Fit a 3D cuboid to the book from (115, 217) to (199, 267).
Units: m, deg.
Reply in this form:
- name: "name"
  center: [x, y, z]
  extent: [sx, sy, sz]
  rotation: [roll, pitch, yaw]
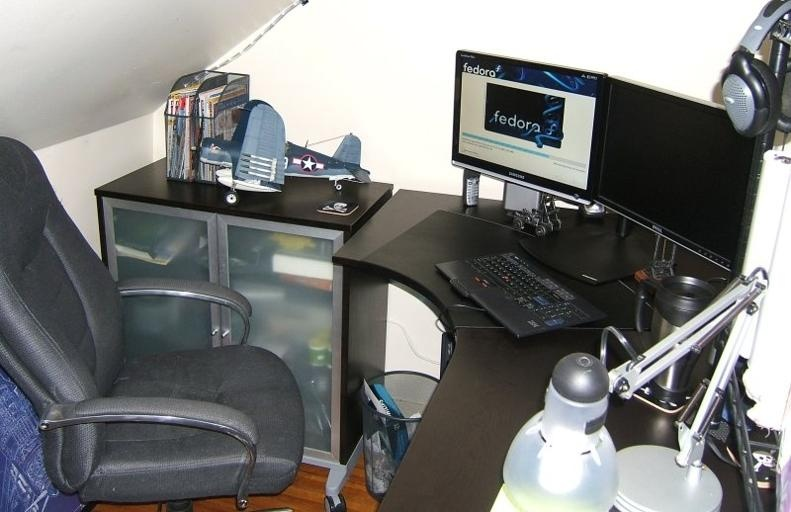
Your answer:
- name: "book"
  center: [-0.989, -0.081, 2.659]
  extent: [0.340, 0.228, 0.077]
  rotation: [10, 21, 8]

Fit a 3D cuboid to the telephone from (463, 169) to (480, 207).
- name: "telephone"
  center: [0.328, -0.299, 2.634]
  extent: [0.075, 0.182, 0.094]
  rotation: [2, 25, -2]

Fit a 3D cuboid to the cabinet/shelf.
- name: "cabinet/shelf"
  center: [-0.553, 0.288, 2.390]
  extent: [1.235, 1.420, 0.765]
  rotation: [5, 25, 7]

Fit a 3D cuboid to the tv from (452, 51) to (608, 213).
- name: "tv"
  center: [0.533, -0.513, 2.379]
  extent: [0.612, 0.447, 0.063]
  rotation: [25, 39, 32]

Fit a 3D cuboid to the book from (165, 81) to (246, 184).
- name: "book"
  center: [-0.780, -0.536, 2.637]
  extent: [0.262, 0.461, 0.277]
  rotation: [16, 31, 11]

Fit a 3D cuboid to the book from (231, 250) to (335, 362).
- name: "book"
  center: [-0.435, 0.196, 2.567]
  extent: [0.379, 0.377, 0.200]
  rotation: [11, 26, 19]
